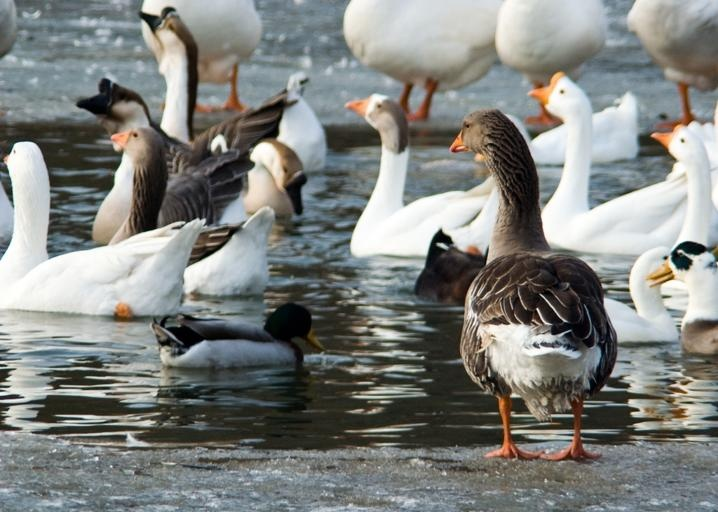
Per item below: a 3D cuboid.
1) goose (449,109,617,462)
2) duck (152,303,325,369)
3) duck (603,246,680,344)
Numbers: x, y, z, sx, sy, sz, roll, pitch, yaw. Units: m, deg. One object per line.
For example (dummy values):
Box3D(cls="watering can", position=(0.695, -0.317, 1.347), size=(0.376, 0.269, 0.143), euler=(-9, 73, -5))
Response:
Box3D(cls="goose", position=(1.168, 0.208, 9.574), size=(0.948, 2.328, 1.606), euler=(1, 5, -8))
Box3D(cls="duck", position=(-0.964, 0.647, 11.307), size=(1.421, 0.482, 0.395), euler=(-1, 5, -34))
Box3D(cls="duck", position=(2.408, 0.424, 11.921), size=(1.330, 0.712, 0.432), euler=(-7, 11, -40))
